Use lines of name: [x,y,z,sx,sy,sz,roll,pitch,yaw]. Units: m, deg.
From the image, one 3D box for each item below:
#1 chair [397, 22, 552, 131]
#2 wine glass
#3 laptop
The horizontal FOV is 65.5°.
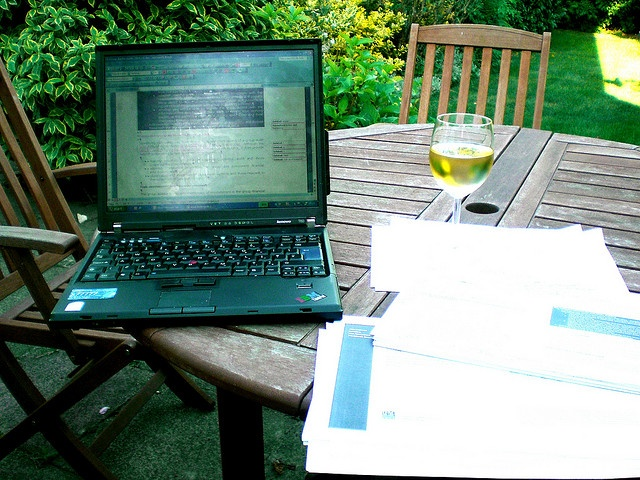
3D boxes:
chair: [0.634,-0.714,2.246,0.743,0.460,0.473,7,31,9]
wine glass: [0.262,-0.144,1.018,0.172,0.215,0.140,0,26,-2]
laptop: [-0.222,-0.138,0.940,0.485,0.451,0.472,-2,24,0]
